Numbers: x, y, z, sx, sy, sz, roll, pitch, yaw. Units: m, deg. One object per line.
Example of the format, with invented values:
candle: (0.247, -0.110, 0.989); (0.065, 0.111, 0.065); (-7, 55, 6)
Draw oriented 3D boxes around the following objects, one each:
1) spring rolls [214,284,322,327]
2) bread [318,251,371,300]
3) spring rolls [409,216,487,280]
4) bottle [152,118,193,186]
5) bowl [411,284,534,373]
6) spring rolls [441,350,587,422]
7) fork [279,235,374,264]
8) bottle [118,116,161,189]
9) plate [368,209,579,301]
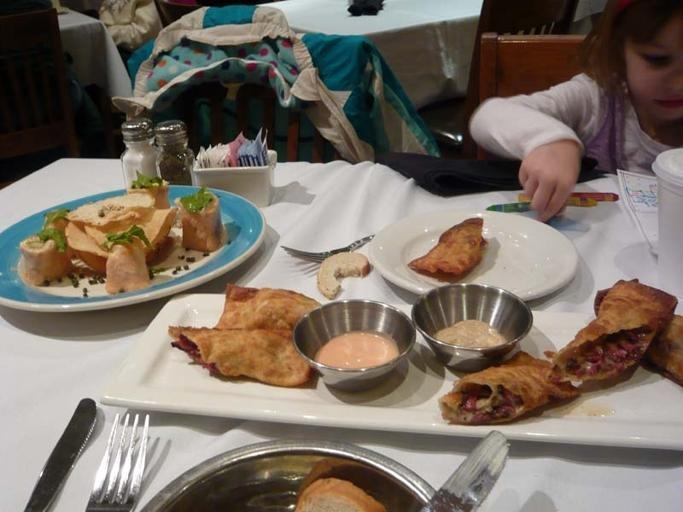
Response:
spring rolls: (-0.151, 0.116, 1.132); (0.197, 0.061, 0.156); (5, 25, -1)
bread: (-0.001, 0.049, 1.301); (0.113, 0.032, 0.194); (8, 37, 29)
spring rolls: (0.243, -0.036, 1.347); (0.185, 0.146, 0.191); (7, 11, -1)
bottle: (-0.539, -0.318, 1.673); (0.095, 0.206, 0.100); (3, 34, -2)
bowl: (0.257, 0.108, 1.119); (0.256, 0.162, 0.226); (-7, 15, -31)
spring rolls: (0.286, 0.237, 0.938); (0.164, 0.053, 0.124); (-16, 22, -11)
fork: (-0.041, -0.015, 1.396); (0.200, 0.027, 0.028); (-13, 46, -22)
bottle: (-0.626, -0.311, 1.662); (0.128, 0.228, 0.130); (1, 28, -1)
plate: (0.346, -0.018, 1.350); (0.293, 0.042, 0.310); (6, 36, 22)
